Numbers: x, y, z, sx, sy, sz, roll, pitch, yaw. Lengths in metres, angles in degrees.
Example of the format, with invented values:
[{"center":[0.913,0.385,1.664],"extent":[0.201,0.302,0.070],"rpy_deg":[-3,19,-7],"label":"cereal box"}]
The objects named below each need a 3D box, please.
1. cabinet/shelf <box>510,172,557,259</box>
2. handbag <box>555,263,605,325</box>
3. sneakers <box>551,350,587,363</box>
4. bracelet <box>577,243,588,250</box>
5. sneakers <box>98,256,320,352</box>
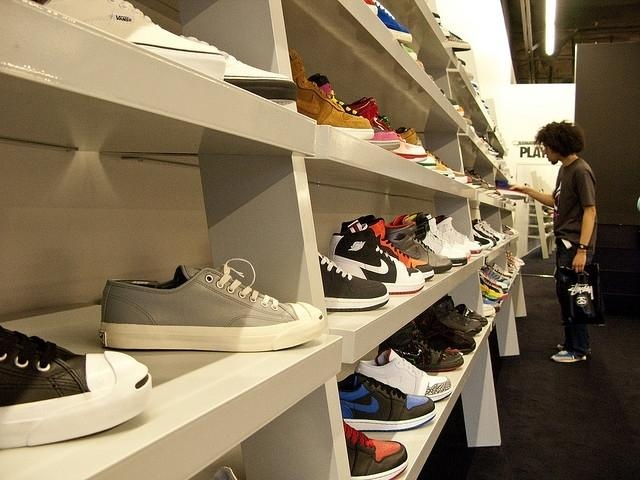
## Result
[{"center":[4.221,-0.523,8.483],"extent":[0.619,1.978,1.996],"rpy_deg":[1,1,23],"label":"cabinet/shelf"},{"center":[2.177,0.439,3.590],"extent":[0.335,0.499,0.255],"rpy_deg":[1,3,30],"label":"handbag"},{"center":[2.162,0.992,3.689],"extent":[0.294,0.122,0.112],"rpy_deg":[3,-4,0],"label":"sneakers"},{"center":[2.131,0.051,3.459],"extent":[0.044,0.030,0.057],"rpy_deg":[1,-2,4],"label":"bracelet"},{"center":[-0.151,0.106,0.729],"extent":[0.366,0.155,0.139],"rpy_deg":[2,-5,-5],"label":"sneakers"}]
